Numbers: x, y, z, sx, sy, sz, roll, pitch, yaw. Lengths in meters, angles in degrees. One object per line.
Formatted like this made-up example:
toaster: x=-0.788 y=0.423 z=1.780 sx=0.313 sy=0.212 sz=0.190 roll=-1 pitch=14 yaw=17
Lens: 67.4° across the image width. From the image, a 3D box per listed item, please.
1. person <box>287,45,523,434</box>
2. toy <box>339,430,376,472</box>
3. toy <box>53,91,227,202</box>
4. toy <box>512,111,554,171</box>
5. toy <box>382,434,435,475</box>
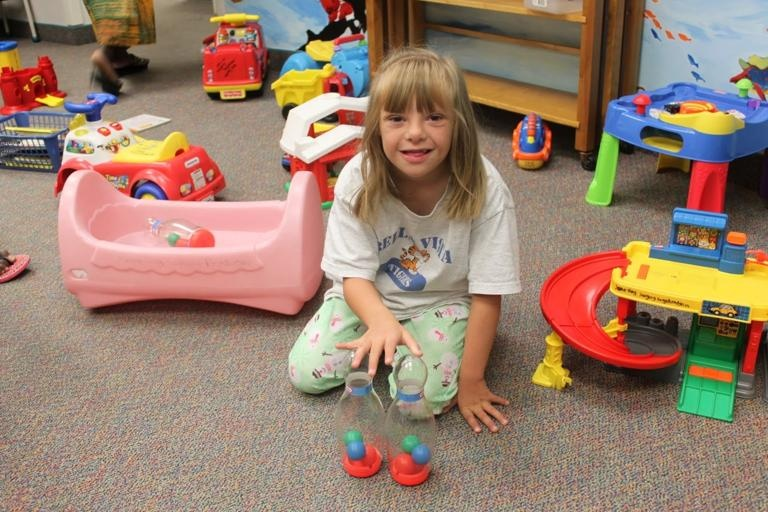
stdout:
person: x=0.076 y=-0.027 z=1.283 sx=0.463 sy=0.738 sz=0.498 roll=-3 pitch=33 yaw=2
toy: x=-0.052 y=0.407 z=1.207 sx=0.084 sy=0.103 sz=0.059 roll=-2 pitch=33 yaw=3
toy: x=-0.912 y=-0.398 z=2.160 sx=0.548 sy=0.259 sz=0.334 roll=13 pitch=23 yaw=10
toy: x=0.600 y=-0.454 z=2.331 sx=0.138 sy=0.099 sz=0.253 roll=3 pitch=51 yaw=13
toy: x=0.051 y=0.416 z=1.178 sx=0.084 sy=0.090 sz=0.094 roll=5 pitch=26 yaw=5
